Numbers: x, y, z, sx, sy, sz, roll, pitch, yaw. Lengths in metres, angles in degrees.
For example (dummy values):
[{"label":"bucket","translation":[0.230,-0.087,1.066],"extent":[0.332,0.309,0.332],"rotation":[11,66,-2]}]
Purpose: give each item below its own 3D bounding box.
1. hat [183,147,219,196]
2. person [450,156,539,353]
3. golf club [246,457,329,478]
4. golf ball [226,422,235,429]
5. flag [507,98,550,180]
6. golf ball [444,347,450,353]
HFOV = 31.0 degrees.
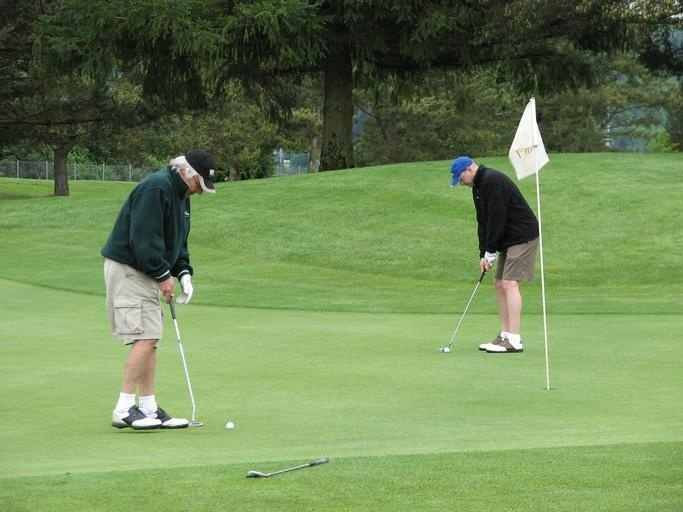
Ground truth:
[{"label":"hat","translation":[-1.868,-1.137,16.534],"extent":[0.322,0.612,0.395],"rotation":[-41,5,19]},{"label":"person","translation":[2.571,-0.001,19.520],"extent":[1.125,2.963,1.507],"rotation":[-7,15,-30]},{"label":"golf club","translation":[-0.672,2.612,15.128],"extent":[1.076,0.175,0.314],"rotation":[-12,-3,-12]},{"label":"golf ball","translation":[-1.461,2.216,15.942],"extent":[0.081,0.047,0.080],"rotation":[3,-5,0]},{"label":"flag","translation":[2.924,-1.728,19.009],"extent":[0.535,1.399,0.486],"rotation":[-5,5,-20]},{"label":"golf ball","translation":[1.617,1.471,18.954],"extent":[0.090,0.081,0.061],"rotation":[-8,10,-20]}]
